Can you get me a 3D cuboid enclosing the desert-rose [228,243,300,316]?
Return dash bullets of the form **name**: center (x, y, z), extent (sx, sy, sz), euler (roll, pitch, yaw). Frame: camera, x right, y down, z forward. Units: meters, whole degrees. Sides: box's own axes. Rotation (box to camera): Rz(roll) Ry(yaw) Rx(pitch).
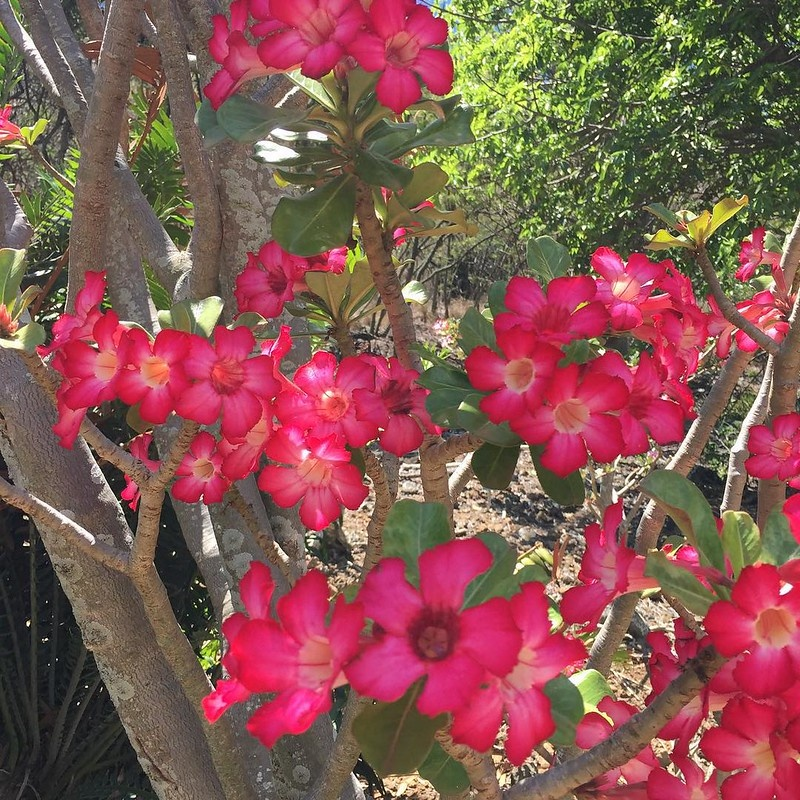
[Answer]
- **desert-rose**: center (-0.212, -0.189, 1.474), extent (0.081, 0.106, 0.098), euler (15, 30, 33)
